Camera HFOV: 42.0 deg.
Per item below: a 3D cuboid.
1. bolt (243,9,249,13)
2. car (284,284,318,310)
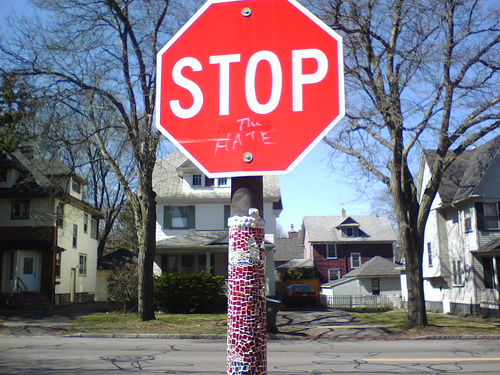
[{"bbox_3d":[-0.078,-3.810,14.036,0.064,0.080,0.028,17,8,1],"label":"bolt"},{"bbox_3d":[3.314,7.267,42.869,1.474,1.329,3.460,0,-11,1],"label":"car"}]
